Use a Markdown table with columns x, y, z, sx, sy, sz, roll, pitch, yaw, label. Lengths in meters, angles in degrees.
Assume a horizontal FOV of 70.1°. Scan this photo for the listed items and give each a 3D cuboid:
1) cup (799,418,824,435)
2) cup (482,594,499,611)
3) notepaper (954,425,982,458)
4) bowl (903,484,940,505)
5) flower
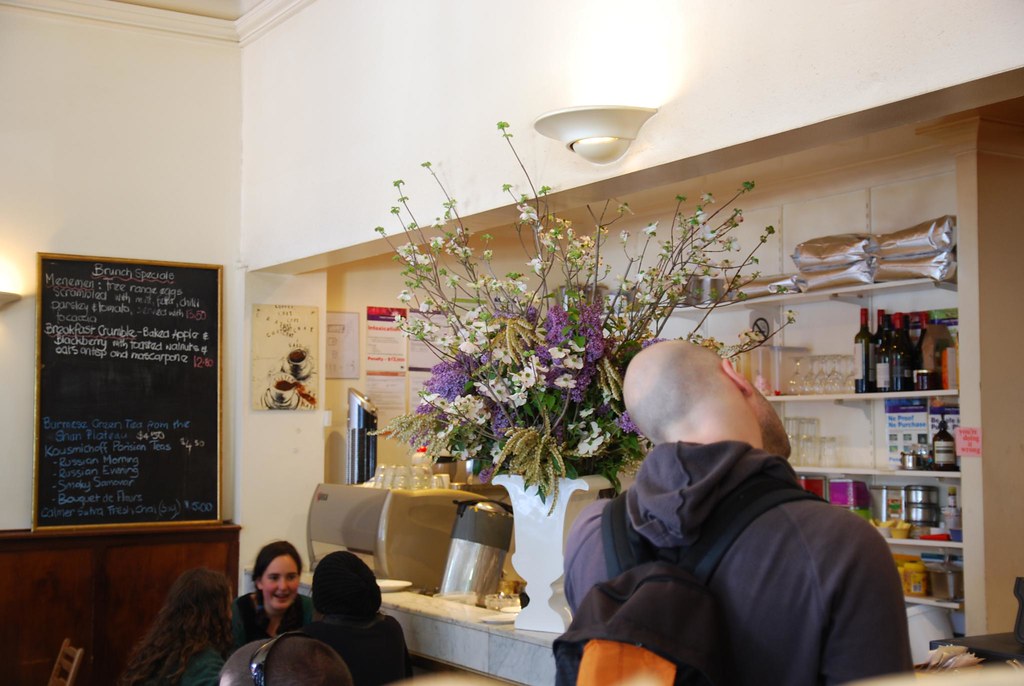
| x | y | z | sx | sy | sz | roll | pitch | yaw | label |
| --- | --- | --- | --- | --- | --- | --- | --- | --- | --- |
| 1.870 | 0.522 | 4.534 | 0.123 | 0.121 | 0.093 | 0 | 3 | 5 | cup |
| -0.083 | 1.033 | 2.905 | 0.037 | 0.043 | 0.049 | -5 | -21 | 35 | cup |
| 2.044 | 0.437 | 3.238 | 0.041 | 0.136 | 0.088 | 3 | -7 | -42 | notepaper |
| 2.273 | 0.833 | 4.031 | 0.120 | 0.114 | 0.118 | 1 | 12 | 0 | bowl |
| 0.219 | 0.307 | 2.402 | 1.150 | 1.141 | 1.074 | -5 | -39 | 0 | flower |
